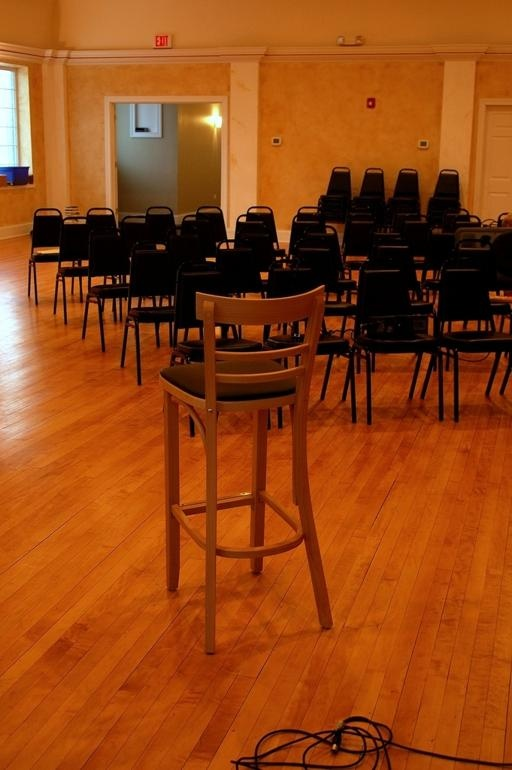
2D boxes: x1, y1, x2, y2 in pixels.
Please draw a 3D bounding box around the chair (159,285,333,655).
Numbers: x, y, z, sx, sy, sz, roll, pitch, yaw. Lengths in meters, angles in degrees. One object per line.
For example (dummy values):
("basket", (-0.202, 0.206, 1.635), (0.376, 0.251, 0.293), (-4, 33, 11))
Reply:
("chair", (-0.020, 0.216, 1.826), (0.544, 1.043, 0.768), (0, 10, -5))
